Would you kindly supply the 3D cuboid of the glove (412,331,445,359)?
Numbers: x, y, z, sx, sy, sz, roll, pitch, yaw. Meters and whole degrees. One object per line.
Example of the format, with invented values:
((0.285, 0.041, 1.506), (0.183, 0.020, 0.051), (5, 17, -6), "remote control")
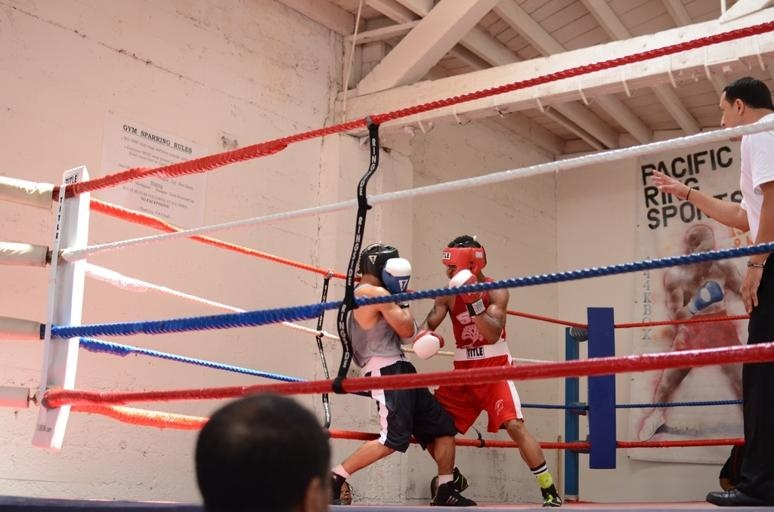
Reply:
((0.191, 0.424, 3.201), (0.116, 0.081, 0.146), (-13, -3, -11), "glove")

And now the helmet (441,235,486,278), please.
((0.401, -0.010, 3.703), (0.271, 0.217, 0.202), (2, -4, -13), "helmet")

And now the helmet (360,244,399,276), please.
((-0.053, 0.022, 3.549), (0.194, 0.161, 0.154), (10, 3, 31), "helmet")

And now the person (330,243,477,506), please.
((0.042, 0.620, 3.523), (0.791, 1.352, 0.571), (13, -17, -43), "person")

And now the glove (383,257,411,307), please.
((0.053, 0.101, 3.501), (0.185, 0.218, 0.234), (1, -5, -5), "glove")

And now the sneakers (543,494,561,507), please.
((0.822, 1.223, 3.374), (0.088, 0.038, 0.123), (-1, -11, 9), "sneakers")
